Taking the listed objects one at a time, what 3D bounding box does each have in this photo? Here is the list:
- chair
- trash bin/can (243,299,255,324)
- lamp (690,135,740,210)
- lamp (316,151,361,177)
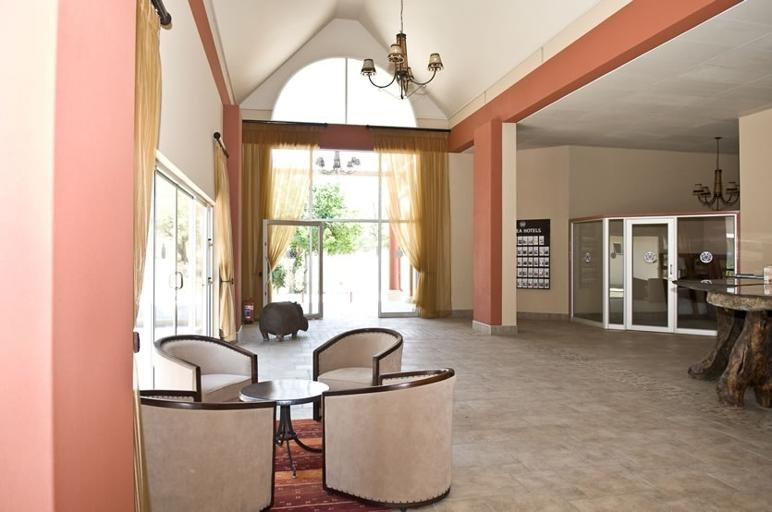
[{"bbox_3d":[-0.208,1.197,4.233,1.468,1.267,1.106,6,-7,-29],"label":"chair"},{"bbox_3d":[-2.859,1.135,11.039,0.277,0.514,0.506,-1,1,-9],"label":"trash bin/can"},{"bbox_3d":[7.173,-1.761,11.529,0.800,1.485,2.665,0,0,33],"label":"lamp"},{"bbox_3d":[-1.039,-2.041,11.965,0.652,0.488,0.681,0,-4,1],"label":"lamp"}]
